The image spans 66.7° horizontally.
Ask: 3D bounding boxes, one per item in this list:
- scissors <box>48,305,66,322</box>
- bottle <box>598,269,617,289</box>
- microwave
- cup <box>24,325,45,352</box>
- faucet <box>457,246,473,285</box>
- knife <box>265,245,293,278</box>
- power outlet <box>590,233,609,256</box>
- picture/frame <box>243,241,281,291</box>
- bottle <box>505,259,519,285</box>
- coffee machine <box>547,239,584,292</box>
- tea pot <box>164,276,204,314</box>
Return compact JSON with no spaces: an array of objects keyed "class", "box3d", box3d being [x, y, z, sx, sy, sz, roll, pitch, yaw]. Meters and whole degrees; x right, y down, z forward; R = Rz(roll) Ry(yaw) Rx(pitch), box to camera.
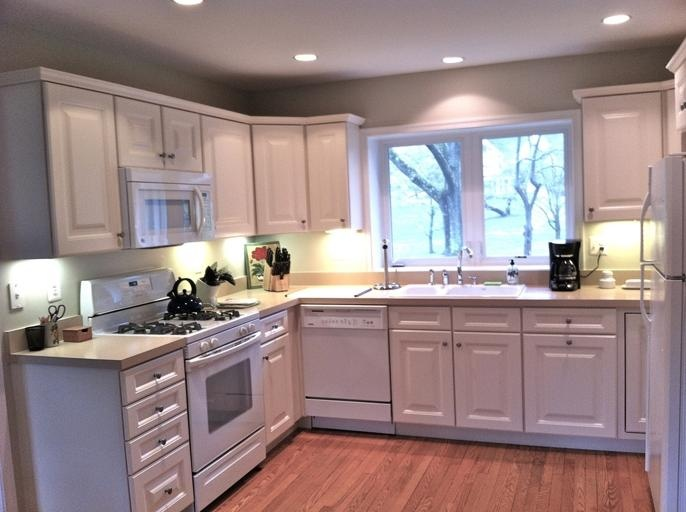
[{"class":"scissors","box3d":[-1.692,0.337,3.071,0.104,0.122,0.010,2,2,-45]},{"class":"bottle","box3d":[1.956,0.162,3.928,0.136,0.145,0.134,-4,7,-16]},{"class":"microwave","box3d":[-1.116,-0.322,3.336,0.439,0.464,0.691,0,1,19]},{"class":"cup","box3d":[-1.727,0.462,2.917,0.137,0.170,0.063,1,6,-7]},{"class":"faucet","box3d":[1.027,0.065,4.396,0.129,0.314,0.337,-1,10,14]},{"class":"knife","box3d":[-0.547,0.063,4.438,0.159,0.252,0.162,4,13,37]},{"class":"power outlet","box3d":[1.981,-0.095,4.046,0.153,0.175,0.058,1,11,25]},{"class":"picture/frame","box3d":[-0.716,0.095,4.540,0.435,0.498,0.034,-1,11,-10]},{"class":"bottle","box3d":[1.366,0.118,4.216,0.093,0.198,0.174,0,10,16]},{"class":"coffee machine","box3d":[1.626,0.054,3.847,0.312,0.492,0.334,-1,-4,21]},{"class":"tea pot","box3d":[-1.126,0.277,3.658,0.204,0.270,0.274,3,2,34]}]
